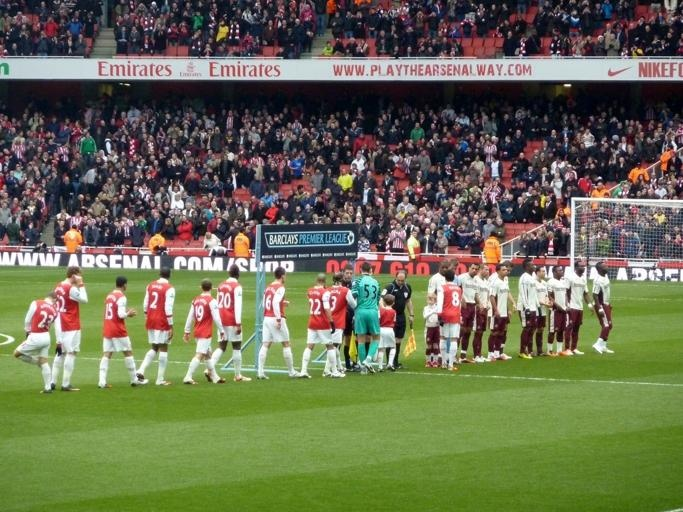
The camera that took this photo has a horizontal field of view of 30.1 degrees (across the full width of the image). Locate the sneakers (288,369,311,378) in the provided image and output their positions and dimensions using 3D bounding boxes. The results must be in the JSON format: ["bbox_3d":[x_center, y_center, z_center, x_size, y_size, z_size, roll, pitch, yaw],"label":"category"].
[{"bbox_3d":[-0.947,2.695,28.977,0.529,0.298,0.201,-1,1,9],"label":"sneakers"}]

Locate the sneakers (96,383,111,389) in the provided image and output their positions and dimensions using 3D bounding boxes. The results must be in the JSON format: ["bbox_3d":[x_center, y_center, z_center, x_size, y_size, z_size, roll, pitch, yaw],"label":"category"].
[{"bbox_3d":[-5.247,2.885,28.023,0.307,0.157,0.106,-4,8,-29],"label":"sneakers"}]
